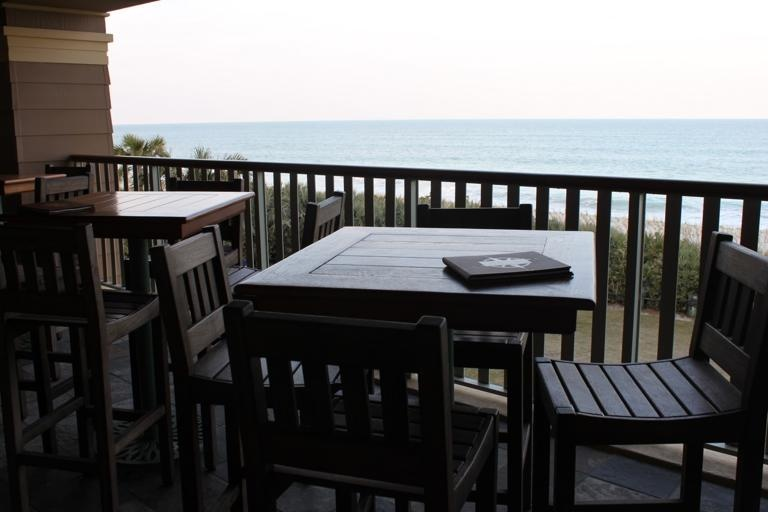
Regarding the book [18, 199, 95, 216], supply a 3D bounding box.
[{"bbox_3d":[-1.620,-0.239,2.815,0.342,0.038,0.288,9,16,35],"label":"book"}]
